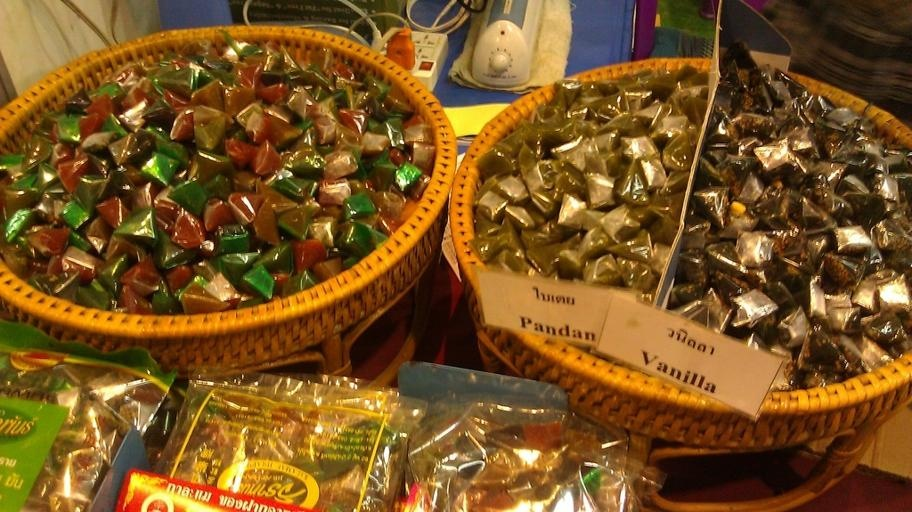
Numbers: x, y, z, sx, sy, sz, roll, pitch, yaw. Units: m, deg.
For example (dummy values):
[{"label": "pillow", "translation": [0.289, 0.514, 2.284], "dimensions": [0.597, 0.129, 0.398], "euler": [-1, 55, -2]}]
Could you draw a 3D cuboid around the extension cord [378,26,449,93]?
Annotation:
[{"label": "extension cord", "translation": [-0.093, -0.591, 2.054], "dimensions": [0.203, 0.050, 0.202], "euler": [15, 64, -1]}]
